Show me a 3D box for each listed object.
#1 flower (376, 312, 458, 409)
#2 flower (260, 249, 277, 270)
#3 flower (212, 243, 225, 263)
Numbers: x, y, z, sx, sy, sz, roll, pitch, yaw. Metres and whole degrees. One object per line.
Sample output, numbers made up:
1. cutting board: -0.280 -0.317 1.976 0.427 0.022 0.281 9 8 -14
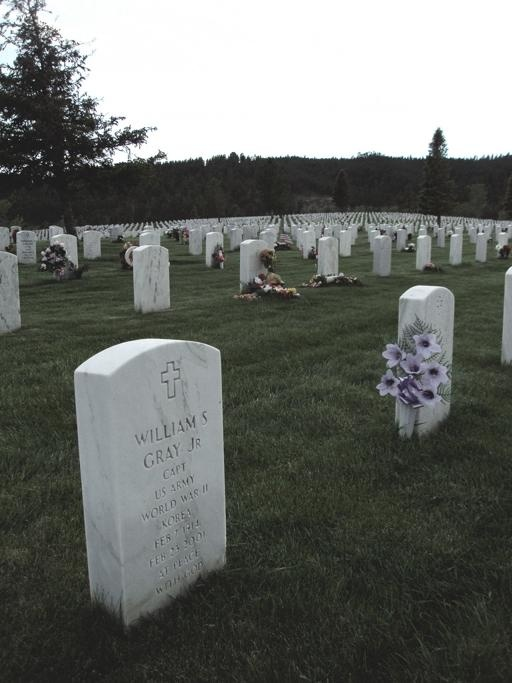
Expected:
1. flower: 1.187 0.226 4.328 0.566 0.315 0.795 -11 27 39
2. flower: 0.231 -1.669 11.774 0.337 0.434 0.254 4 14 26
3. flower: -1.097 -2.713 18.019 0.348 0.613 0.871 3 12 17
